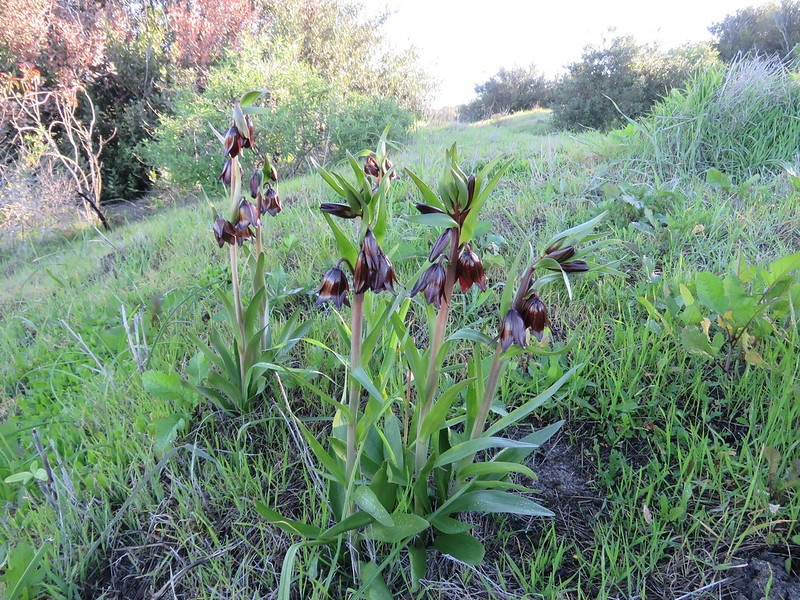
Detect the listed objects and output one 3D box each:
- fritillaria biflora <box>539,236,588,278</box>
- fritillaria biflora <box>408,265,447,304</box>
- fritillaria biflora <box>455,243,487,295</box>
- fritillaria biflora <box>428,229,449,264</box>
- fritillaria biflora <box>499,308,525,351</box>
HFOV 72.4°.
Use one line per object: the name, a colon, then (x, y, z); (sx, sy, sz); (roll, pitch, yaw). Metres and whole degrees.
fritillaria biflora: (0.894, -0.220, 2.971); (0.254, 0.170, 0.139); (-18, 18, 16)
fritillaria biflora: (0.165, -0.083, 3.105); (0.182, 0.222, 0.133); (28, -8, -36)
fritillaria biflora: (0.384, -0.171, 2.981); (0.153, 0.277, 0.239); (-5, 21, 7)
fritillaria biflora: (0.229, -0.291, 2.980); (0.065, 0.228, 0.063); (17, -14, 32)
fritillaria biflora: (0.630, 0.156, 2.997); (0.130, 0.185, 0.129); (7, -9, -32)
